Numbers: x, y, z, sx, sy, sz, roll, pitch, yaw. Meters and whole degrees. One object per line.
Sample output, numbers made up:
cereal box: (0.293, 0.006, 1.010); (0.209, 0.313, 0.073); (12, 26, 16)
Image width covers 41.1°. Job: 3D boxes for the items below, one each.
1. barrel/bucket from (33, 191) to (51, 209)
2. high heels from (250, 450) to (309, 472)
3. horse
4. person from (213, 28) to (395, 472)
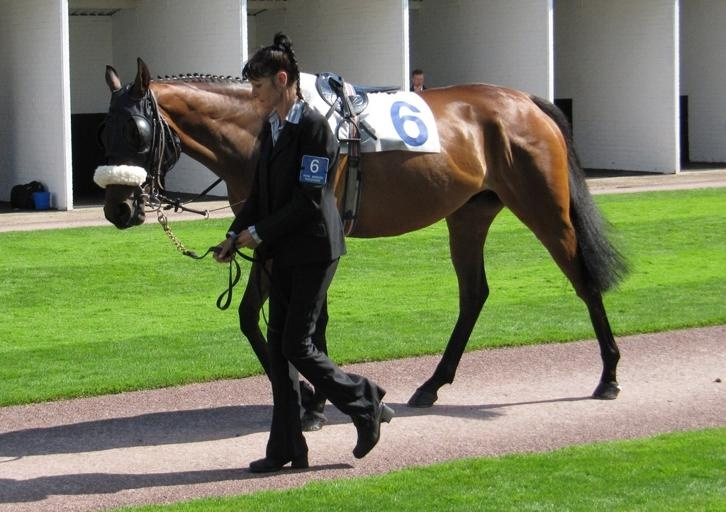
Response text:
barrel/bucket: (-5.866, -0.992, 17.754); (0.320, 0.302, 0.306); (-1, 13, 0)
high heels: (-0.553, 1.379, 6.416); (0.372, 0.142, 0.143); (0, 2, -11)
horse: (0.145, -0.080, 7.572); (4.447, 2.641, 1.009); (-3, 3, -23)
person: (-0.415, 0.013, 6.262); (1.058, 2.821, 0.488); (-2, 13, -6)
